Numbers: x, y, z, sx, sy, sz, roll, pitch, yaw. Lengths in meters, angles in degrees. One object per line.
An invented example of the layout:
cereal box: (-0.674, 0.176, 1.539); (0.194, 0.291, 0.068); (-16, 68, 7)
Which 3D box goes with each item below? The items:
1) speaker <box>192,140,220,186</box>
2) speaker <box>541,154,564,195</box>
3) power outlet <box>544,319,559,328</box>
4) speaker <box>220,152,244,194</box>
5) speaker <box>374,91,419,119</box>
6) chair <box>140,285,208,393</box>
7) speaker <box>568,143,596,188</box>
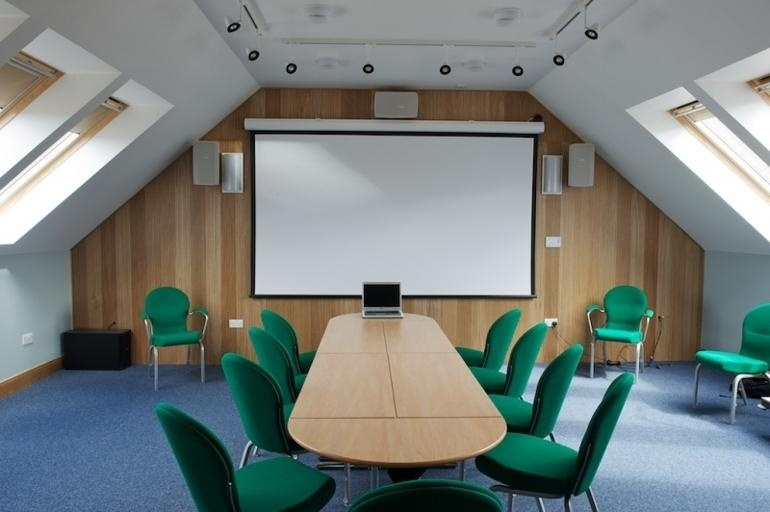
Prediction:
speaker: (-2.347, -1.221, 7.117); (0.335, 0.557, 0.175); (1, -5, -7)
speaker: (2.261, -1.106, 7.354); (0.266, 0.499, 0.113); (0, -5, 1)
power outlet: (2.300, 0.923, 7.522); (0.196, 0.125, 0.080); (3, -5, -26)
speaker: (-2.038, -1.114, 7.232); (0.299, 0.518, 0.203); (1, -5, -7)
speaker: (0.144, -2.011, 7.170); (0.534, 0.356, 0.128); (-2, 8, -2)
chair: (-2.714, 1.013, 7.054); (0.803, 1.269, 0.987); (2, -5, -18)
speaker: (2.620, -1.221, 7.279); (0.315, 0.554, 0.210); (-1, -5, 12)
